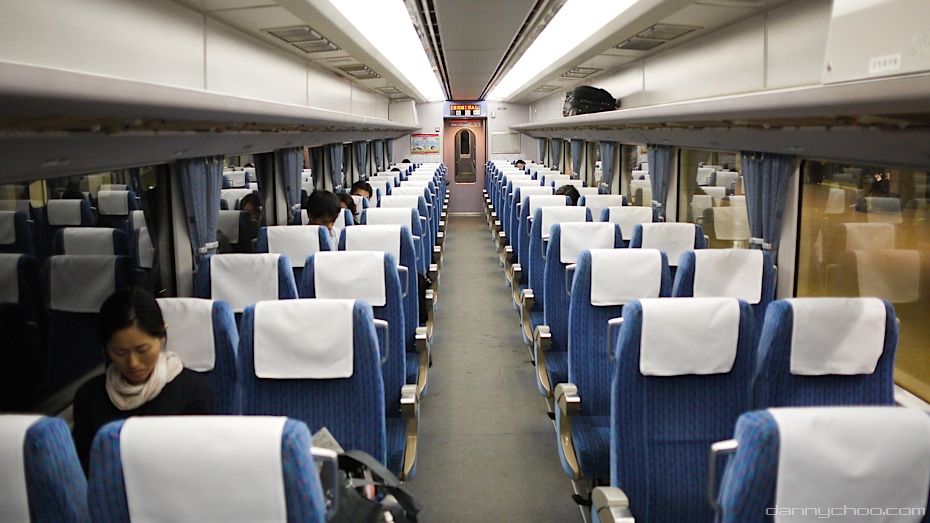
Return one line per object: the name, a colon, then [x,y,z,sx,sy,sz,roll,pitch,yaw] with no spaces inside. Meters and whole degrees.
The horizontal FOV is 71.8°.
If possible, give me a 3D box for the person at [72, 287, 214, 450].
person: [-2.089,0.712,4.118,0.830,1.081,0.365,-4,10,-22]
